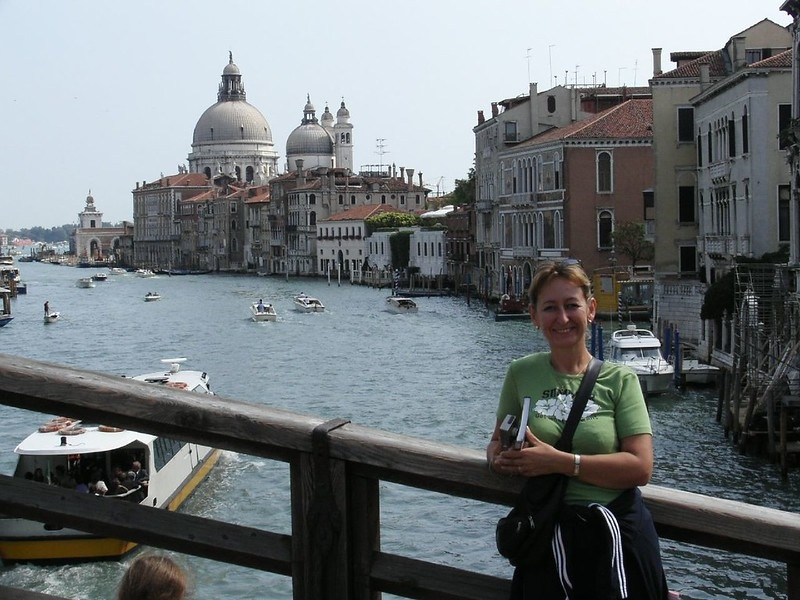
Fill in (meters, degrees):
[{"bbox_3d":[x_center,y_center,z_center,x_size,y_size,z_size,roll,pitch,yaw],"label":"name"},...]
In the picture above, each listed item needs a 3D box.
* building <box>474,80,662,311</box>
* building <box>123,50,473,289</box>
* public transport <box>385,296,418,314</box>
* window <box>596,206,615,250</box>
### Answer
[{"bbox_3d":[10.436,-5.907,64.230,6.744,11.623,18.058,-3,5,-12],"label":"building"},{"bbox_3d":[-17.361,-22.242,155.867,31.614,29.385,60.848,-1,2,-24],"label":"building"},{"bbox_3d":[-0.138,0.342,66.306,0.856,0.553,2.533,-2,8,-18],"label":"public transport"},{"bbox_3d":[11.506,-3.900,55.862,0.943,2.279,0.221,-1,27,11],"label":"window"}]
